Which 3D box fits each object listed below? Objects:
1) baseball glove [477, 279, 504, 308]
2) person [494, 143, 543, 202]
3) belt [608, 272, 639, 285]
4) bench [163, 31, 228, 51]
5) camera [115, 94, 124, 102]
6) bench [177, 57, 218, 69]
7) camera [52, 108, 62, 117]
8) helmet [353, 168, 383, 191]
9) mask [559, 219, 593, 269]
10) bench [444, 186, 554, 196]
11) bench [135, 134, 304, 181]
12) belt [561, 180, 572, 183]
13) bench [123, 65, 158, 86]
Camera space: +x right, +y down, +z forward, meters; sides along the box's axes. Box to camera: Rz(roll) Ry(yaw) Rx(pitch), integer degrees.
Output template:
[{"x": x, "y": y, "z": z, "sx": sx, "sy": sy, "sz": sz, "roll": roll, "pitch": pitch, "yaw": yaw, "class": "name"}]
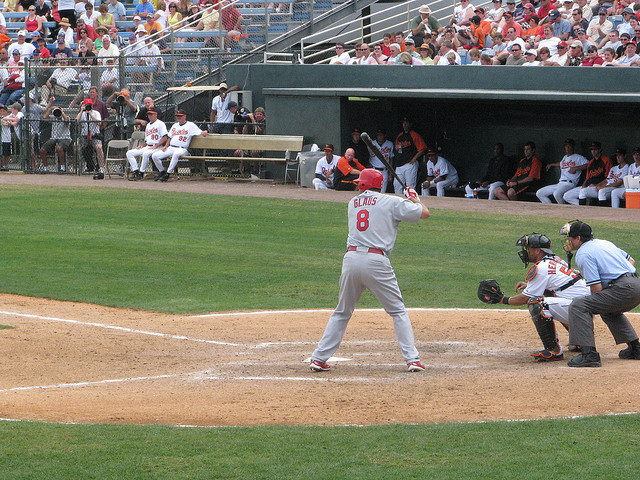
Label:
[{"x": 2.518, "y": 0.798, "z": 21.289, "sx": 0.521, "sy": 0.392, "sz": 0.357, "roll": 11, "pitch": -15, "yaw": 9, "class": "baseball glove"}, {"x": 4.475, "y": -1.386, "z": 32.330, "sx": 1.090, "sy": 1.469, "sz": 0.785, "roll": -2, "pitch": 9, "yaw": -23, "class": "person"}, {"x": 4.387, "y": 0.574, "z": 20.715, "sx": 0.479, "sy": 0.165, "sz": 0.118, "roll": 0, "pitch": 4, "yaw": -24, "class": "belt"}, {"x": -3.163, "y": -5.145, "z": 37.090, "sx": 1.564, "sy": 0.525, "sz": 0.478, "roll": 1, "pitch": 4, "yaw": -6, "class": "bench"}, {"x": -4.827, "y": -3.417, "z": 34.738, "sx": 0.129, "sy": 0.180, "sz": 0.330, "roll": 0, "pitch": 4, "yaw": -26, "class": "camera"}, {"x": -3.180, "y": -4.582, "z": 37.134, "sx": 1.167, "sy": 0.311, "sz": 0.565, "roll": -1, "pitch": 5, "yaw": -12, "class": "bench"}, {"x": -6.392, "y": -3.099, "z": 34.965, "sx": 0.187, "sy": 0.186, "sz": 0.184, "roll": -22, "pitch": 21, "yaw": -1, "class": "camera"}, {"x": 0.739, "y": -0.860, "z": 20.711, "sx": 0.419, "sy": 0.265, "sz": 0.277, "roll": 5, "pitch": 8, "yaw": 17, "class": "helmet"}, {"x": 3.756, "y": 0.118, "z": 20.913, "sx": 0.540, "sy": 0.653, "sz": 0.538, "roll": 8, "pitch": -6, "yaw": -29, "class": "mask"}, {"x": 3.891, "y": -1.128, "z": 33.103, "sx": 0.701, "sy": 0.139, "sz": 2.286, "roll": -2, "pitch": 5, "yaw": -42, "class": "bench"}, {"x": -2.490, "y": -1.917, "z": 34.202, "sx": 4.461, "sy": 1.055, "sz": 0.878, "roll": 3, "pitch": 15, "yaw": 31, "class": "bench"}, {"x": 5.447, "y": -1.277, "z": 31.655, "sx": 0.202, "sy": 0.055, "sz": 0.053, "roll": 4, "pitch": 5, "yaw": 43, "class": "belt"}, {"x": -4.488, "y": -4.161, "z": 35.566, "sx": 0.605, "sy": 0.358, "sz": 0.841, "roll": 0, "pitch": 3, "yaw": 19, "class": "bench"}]
